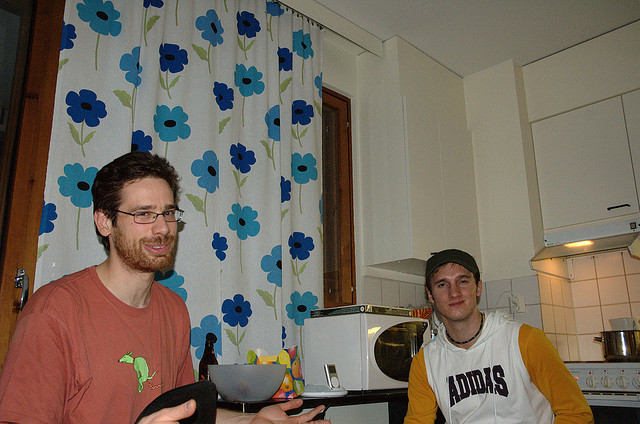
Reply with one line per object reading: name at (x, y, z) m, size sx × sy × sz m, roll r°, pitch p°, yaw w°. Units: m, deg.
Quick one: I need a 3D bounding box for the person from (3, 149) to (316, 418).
person at (-0.760, 0.253, 1.769) m, size 0.654 × 0.980 × 0.235 m, roll 8°, pitch -14°, yaw -32°

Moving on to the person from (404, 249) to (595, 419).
person at (0.824, 0.610, 2.293) m, size 0.832 × 0.842 × 0.219 m, roll -8°, pitch -15°, yaw 32°

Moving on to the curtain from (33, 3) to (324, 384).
curtain at (-0.751, -0.272, 2.810) m, size 1.689 × 2.137 × 0.379 m, roll 9°, pitch -9°, yaw -44°

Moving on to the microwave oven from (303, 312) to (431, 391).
microwave oven at (0.289, 0.762, 2.830) m, size 0.622 × 0.492 × 0.547 m, roll -8°, pitch -15°, yaw 44°
